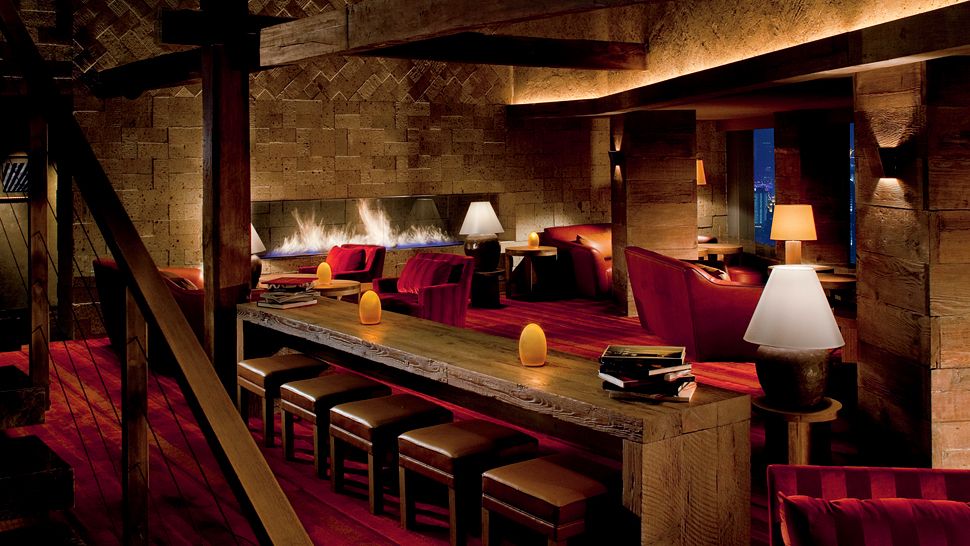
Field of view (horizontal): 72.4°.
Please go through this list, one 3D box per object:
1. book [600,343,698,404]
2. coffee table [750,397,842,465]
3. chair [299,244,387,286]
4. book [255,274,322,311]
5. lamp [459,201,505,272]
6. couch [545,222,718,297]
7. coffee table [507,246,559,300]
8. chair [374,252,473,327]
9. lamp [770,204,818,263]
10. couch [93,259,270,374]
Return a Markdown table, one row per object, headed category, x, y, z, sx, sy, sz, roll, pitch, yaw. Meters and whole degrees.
| category | x | y | z | sx | sy | sz | roll | pitch | yaw |
| --- | --- | --- | --- | --- | --- | --- | --- | --- | --- |
| book | 0.988 | 0.608 | 4.065 | 0.591 | 0.276 | 0.275 | 0 | 7 | 11 |
| coffee table | 2.159 | 1.027 | 4.715 | 0.550 | 0.518 | 0.525 | -1 | 2 | -3 |
| chair | -2.054 | -0.111 | 9.627 | 0.659 | 0.736 | 0.670 | 0 | -1 | 39 |
| book | -1.761 | 0.192 | 6.162 | 0.535 | 0.161 | 0.483 | -3 | 6 | -43 |
| lamp | -0.065 | -0.562 | 10.373 | 0.596 | 1.106 | 1.260 | -1 | 7 | 0 |
| couch | 1.906 | -0.287 | 11.064 | 1.530 | 0.955 | 1.376 | -2 | 1 | -36 |
| coffee table | 0.716 | -0.047 | 10.969 | 0.638 | 0.858 | 0.991 | -8 | 10 | -41 |
| chair | -0.889 | 0.179 | 8.635 | 1.083 | 1.093 | 1.084 | 0 | -2 | 44 |
| lamp | 3.807 | -0.483 | 8.214 | 0.472 | 0.714 | 0.687 | 2 | 8 | 23 |
| couch | -2.396 | 0.361 | 5.282 | 1.359 | 0.742 | 1.152 | 5 | 6 | 43 |
